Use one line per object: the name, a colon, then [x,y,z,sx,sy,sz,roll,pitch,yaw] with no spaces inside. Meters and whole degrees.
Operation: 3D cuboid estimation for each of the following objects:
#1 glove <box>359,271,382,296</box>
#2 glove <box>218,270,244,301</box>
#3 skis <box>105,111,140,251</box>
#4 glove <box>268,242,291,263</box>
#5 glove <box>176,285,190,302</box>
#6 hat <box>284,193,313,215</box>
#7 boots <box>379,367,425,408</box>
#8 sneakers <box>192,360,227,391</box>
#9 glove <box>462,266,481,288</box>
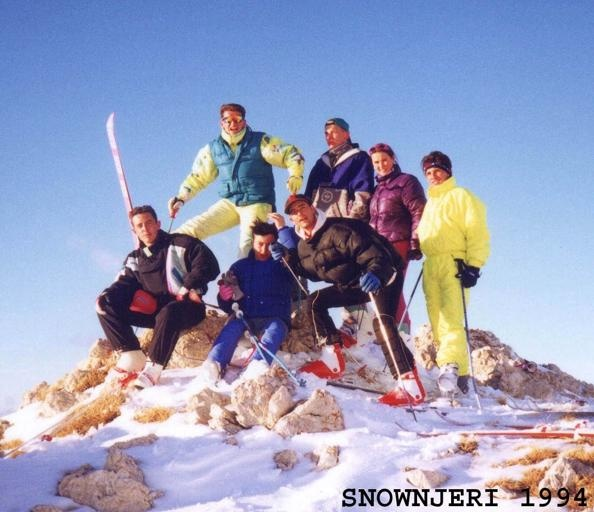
glove: [0.949,0.336,6.993,0.143,0.220,0.260,-12,-53,49]
glove: [-0.976,0.445,8.026,0.351,0.435,0.236,-6,10,-17]
skis: [-2.485,-0.928,7.921,0.232,2.606,0.196,-10,0,2]
glove: [-0.283,-0.015,7.856,0.268,0.206,0.274,31,-5,-32]
glove: [-1.629,0.546,7.794,0.154,0.213,0.213,32,-10,-6]
hat: [0.017,-0.705,7.413,0.359,0.282,0.299,-3,10,-3]
boots: [1.318,1.672,6.703,0.675,0.405,0.393,-11,12,-36]
sneakers: [-1.120,1.572,7.047,0.207,0.266,0.660,-2,-37,6]
glove: [2.381,0.298,7.505,0.233,0.328,0.149,0,10,15]
